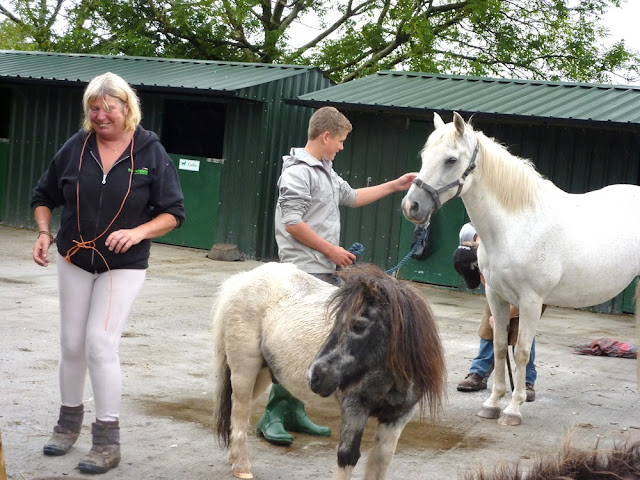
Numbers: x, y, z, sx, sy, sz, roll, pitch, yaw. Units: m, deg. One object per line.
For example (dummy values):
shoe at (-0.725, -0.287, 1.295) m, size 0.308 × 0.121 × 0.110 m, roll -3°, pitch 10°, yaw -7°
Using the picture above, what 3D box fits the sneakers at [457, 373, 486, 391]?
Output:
sneakers at (1.475, 1.375, 7.038) m, size 0.289 × 0.142 × 0.137 m, roll 7°, pitch -6°, yaw -41°

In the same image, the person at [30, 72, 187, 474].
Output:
person at (-1.573, 0.187, 5.160) m, size 1.018 × 2.727 × 0.638 m, roll 6°, pitch 5°, yaw 14°

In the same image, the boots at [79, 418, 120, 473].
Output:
boots at (-1.521, 1.419, 5.024) m, size 0.290 × 0.338 × 0.193 m, roll 3°, pitch 6°, yaw -24°

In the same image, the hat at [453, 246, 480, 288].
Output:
hat at (1.451, 0.278, 7.054) m, size 0.138 × 0.401 × 0.277 m, roll -27°, pitch 9°, yaw -24°
